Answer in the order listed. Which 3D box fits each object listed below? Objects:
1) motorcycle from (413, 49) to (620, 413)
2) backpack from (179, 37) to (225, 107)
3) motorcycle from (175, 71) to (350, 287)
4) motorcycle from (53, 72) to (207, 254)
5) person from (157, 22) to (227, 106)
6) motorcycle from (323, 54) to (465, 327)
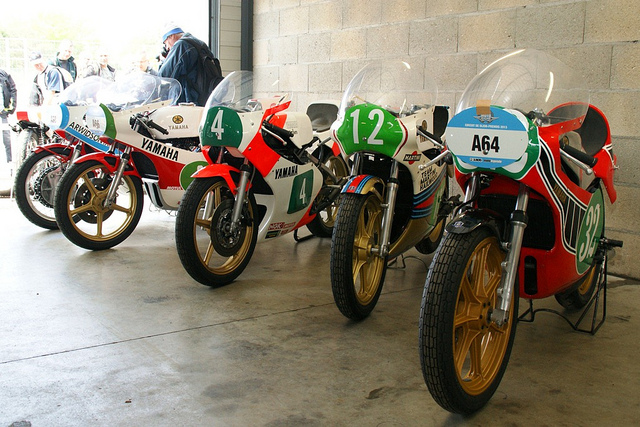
[{"bbox_3d":[1.344,-0.089,3.136,0.881,1.762,2.715,6,13,40],"label":"motorcycle"},{"bbox_3d":[-1.451,-1.689,5.663,0.505,0.782,0.477,17,37,34],"label":"backpack"},{"bbox_3d":[-0.302,-0.466,4.397,0.768,1.652,2.510,6,15,30],"label":"motorcycle"},{"bbox_3d":[-1.476,-0.633,5.154,0.763,1.620,2.669,15,19,37],"label":"motorcycle"},{"bbox_3d":[-1.655,-1.729,5.736,0.892,0.895,0.629,7,5,28],"label":"person"},{"bbox_3d":[0.759,-0.380,4.059,0.838,1.724,2.624,6,16,30],"label":"motorcycle"}]
